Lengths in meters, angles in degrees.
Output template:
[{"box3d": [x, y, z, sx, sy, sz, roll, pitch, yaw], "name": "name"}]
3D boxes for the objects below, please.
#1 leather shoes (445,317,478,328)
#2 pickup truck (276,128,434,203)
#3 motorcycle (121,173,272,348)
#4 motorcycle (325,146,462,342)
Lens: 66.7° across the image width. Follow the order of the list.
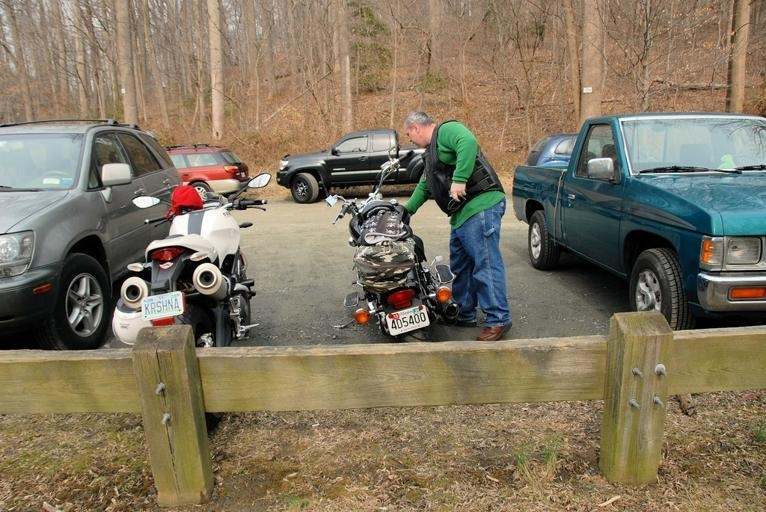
[{"box3d": [0.873, 0.716, 6.438, 0.381, 0.155, 0.135, 3, 6, 7], "name": "leather shoes"}, {"box3d": [-1.006, -2.583, 16.690, 4.826, 1.826, 2.060, 0, 12, 1], "name": "pickup truck"}, {"box3d": [-1.822, 0.127, 5.903, 1.038, 1.475, 2.767, -5, 15, 0], "name": "motorcycle"}, {"box3d": [0.134, -0.015, 5.823, 1.184, 1.857, 1.025, -4, 12, -5], "name": "motorcycle"}]
